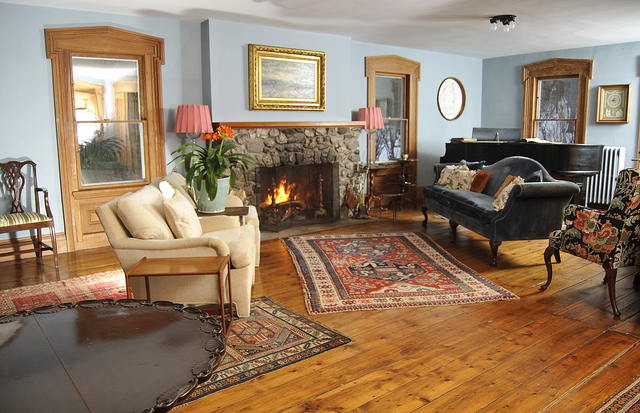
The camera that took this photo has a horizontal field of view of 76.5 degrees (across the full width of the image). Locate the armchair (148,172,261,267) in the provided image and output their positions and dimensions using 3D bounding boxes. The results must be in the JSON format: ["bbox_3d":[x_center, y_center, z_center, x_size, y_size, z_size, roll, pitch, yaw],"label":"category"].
[{"bbox_3d":[-1.337,0.093,5.120,1.382,1.007,1.158,-5,16,-18],"label":"armchair"}]

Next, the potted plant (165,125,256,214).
[{"bbox_3d":[-1.223,-0.426,4.707,1.012,0.891,0.948,0,5,-19],"label":"potted plant"}]

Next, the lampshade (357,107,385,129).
[{"bbox_3d":[0.924,-1.632,7.481,0.480,0.261,0.426,-2,12,-10],"label":"lampshade"}]

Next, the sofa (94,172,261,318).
[{"bbox_3d":[-1.443,0.322,4.773,1.494,0.987,2.303,7,8,-8],"label":"sofa"}]

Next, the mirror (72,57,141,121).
[{"bbox_3d":[-3.083,-1.704,5.769,1.108,1.022,0.053,-5,12,-34],"label":"mirror"}]

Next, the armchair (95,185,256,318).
[{"bbox_3d":[-1.430,0.364,4.218,1.777,0.947,1.714,11,11,29],"label":"armchair"}]

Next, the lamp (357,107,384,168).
[{"bbox_3d":[0.927,-1.300,7.575,0.639,1.098,0.544,-4,1,-30],"label":"lamp"}]

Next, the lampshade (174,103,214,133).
[{"bbox_3d":[-1.807,-1.282,5.874,0.489,0.276,0.458,4,13,15],"label":"lampshade"}]

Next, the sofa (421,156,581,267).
[{"bbox_3d":[2.543,-0.178,6.133,1.249,1.013,2.470,-6,14,-5],"label":"sofa"}]

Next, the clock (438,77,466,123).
[{"bbox_3d":[2.924,-2.382,9.024,0.762,0.962,0.223,-13,20,-38],"label":"clock"}]

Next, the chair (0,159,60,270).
[{"bbox_3d":[-3.835,0.074,5.212,0.687,1.304,0.742,-10,18,-30],"label":"chair"}]
